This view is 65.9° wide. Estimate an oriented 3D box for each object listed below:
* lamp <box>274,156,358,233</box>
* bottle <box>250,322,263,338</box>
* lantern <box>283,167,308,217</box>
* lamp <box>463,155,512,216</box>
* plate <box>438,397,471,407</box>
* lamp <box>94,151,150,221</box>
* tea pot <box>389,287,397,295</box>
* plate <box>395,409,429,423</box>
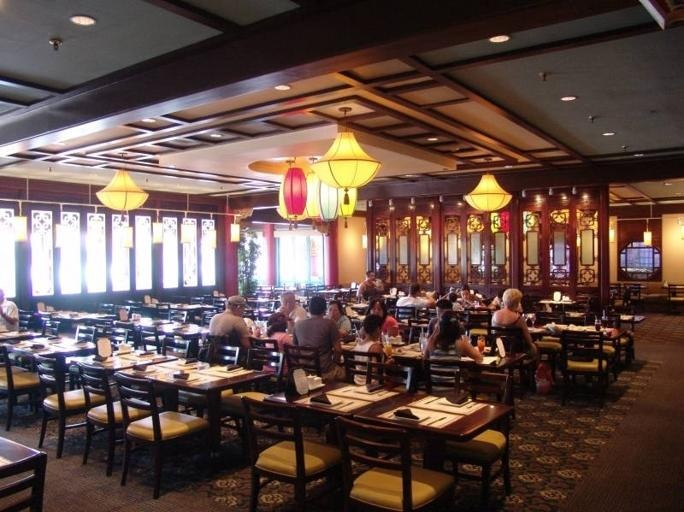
[{"bbox_3d":[-0.446,-0.957,8.578,1.273,0.744,1.129,0,-3,-3],"label":"lamp"},{"bbox_3d":[-1.239,1.069,7.646,0.162,0.177,0.198,2,-4,-34],"label":"bottle"},{"bbox_3d":[-0.731,-1.011,8.259,0.387,0.726,0.246,-2,0,-10],"label":"lantern"},{"bbox_3d":[2.672,-1.240,9.659,1.053,0.780,0.988,-1,2,-30],"label":"lamp"},{"bbox_3d":[0.935,1.191,4.338,0.287,0.041,0.237,-2,-1,10],"label":"plate"},{"bbox_3d":[-4.267,-1.375,10.117,1.237,1.043,1.111,-1,6,-28],"label":"lamp"},{"bbox_3d":[1.323,0.908,13.441,0.160,0.164,0.180,3,-6,-25],"label":"tea pot"},{"bbox_3d":[0.549,1.195,4.015,0.198,0.088,0.230,-3,-2,43],"label":"plate"}]
